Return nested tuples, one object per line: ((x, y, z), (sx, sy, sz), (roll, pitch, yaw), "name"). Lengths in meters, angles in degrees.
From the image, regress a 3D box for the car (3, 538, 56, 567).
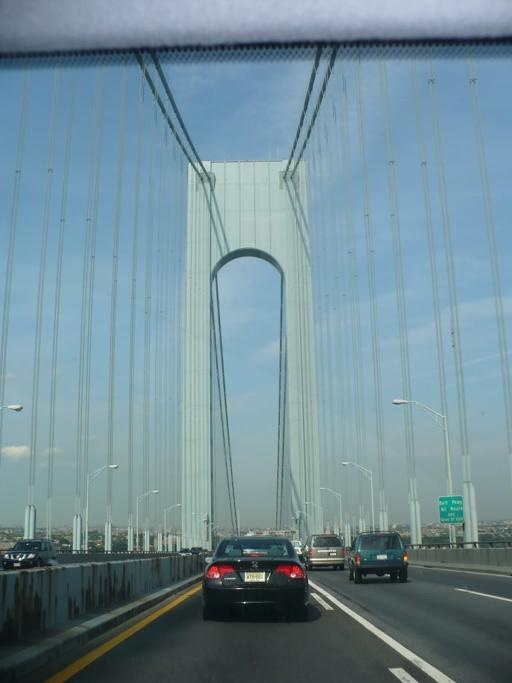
((-9.032, 8.564, 26.516), (1.257, 1.142, 2.155), (-1, -32, -2), "car")
